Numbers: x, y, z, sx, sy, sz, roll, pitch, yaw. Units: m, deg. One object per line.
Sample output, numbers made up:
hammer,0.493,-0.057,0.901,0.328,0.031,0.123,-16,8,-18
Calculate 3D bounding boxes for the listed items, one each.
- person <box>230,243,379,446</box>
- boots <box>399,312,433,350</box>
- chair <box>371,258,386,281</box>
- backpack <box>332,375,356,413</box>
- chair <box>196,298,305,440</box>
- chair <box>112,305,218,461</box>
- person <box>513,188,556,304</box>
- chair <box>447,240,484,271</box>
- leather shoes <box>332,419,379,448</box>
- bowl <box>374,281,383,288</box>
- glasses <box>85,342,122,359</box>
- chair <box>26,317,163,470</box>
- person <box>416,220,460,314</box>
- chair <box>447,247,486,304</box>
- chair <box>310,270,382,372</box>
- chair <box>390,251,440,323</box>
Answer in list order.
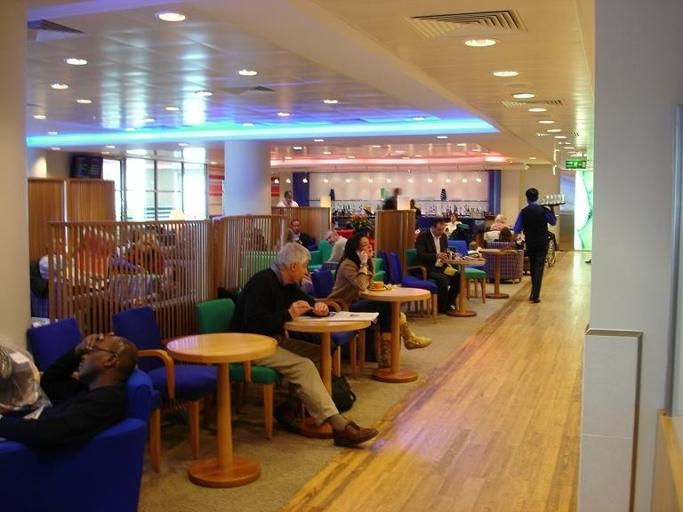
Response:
person,-0.279,0.698,4.625,1.351,1.552,0.881,10,3,21
boots,0.851,0.936,6.719,0.415,0.431,0.193,-6,-21,-13
chair,0.543,0.177,8.310,0.275,0.353,0.310,0,-3,23
backpack,-0.004,1.278,5.215,0.194,0.285,0.287,-2,-6,6
chair,-0.913,0.921,4.647,0.670,1.042,0.711,-9,13,-33
chair,-1.368,0.936,4.430,0.821,1.076,0.833,-3,1,35
person,3.683,-0.219,10.690,0.805,2.133,0.681,0,-3,5
chair,2.403,-0.061,11.013,0.583,0.820,0.760,-2,2,-37
leather shoes,0.077,1.393,4.459,0.410,0.228,0.164,-6,8,10
bowl,0.431,0.320,6.455,0.074,0.049,0.074,1,0,0
glasses,-1.335,0.542,3.091,0.125,0.041,0.128,16,3,18
chair,-1.746,1.071,3.955,0.738,1.238,0.724,-1,2,-1
person,1.754,0.165,9.800,0.700,1.725,0.911,-8,11,-38
chair,2.482,0.326,10.962,0.694,1.091,0.655,-4,2,-2
chair,-0.043,0.836,6.656,0.805,1.269,0.850,7,-2,-45
chair,1.086,0.408,8.883,0.779,1.041,0.741,-6,5,-25
